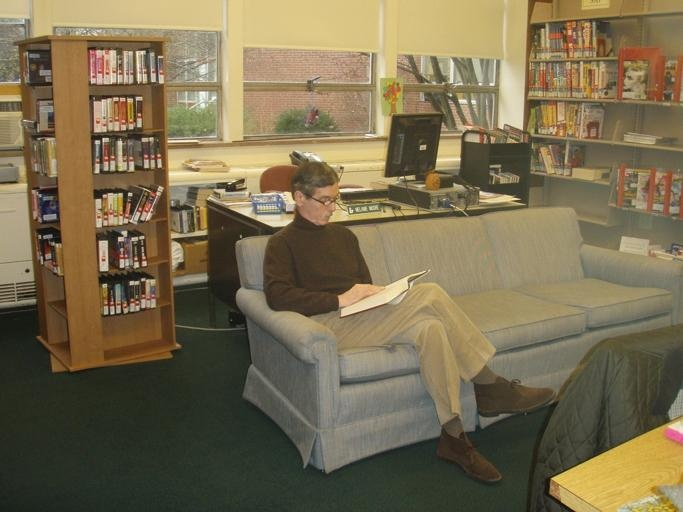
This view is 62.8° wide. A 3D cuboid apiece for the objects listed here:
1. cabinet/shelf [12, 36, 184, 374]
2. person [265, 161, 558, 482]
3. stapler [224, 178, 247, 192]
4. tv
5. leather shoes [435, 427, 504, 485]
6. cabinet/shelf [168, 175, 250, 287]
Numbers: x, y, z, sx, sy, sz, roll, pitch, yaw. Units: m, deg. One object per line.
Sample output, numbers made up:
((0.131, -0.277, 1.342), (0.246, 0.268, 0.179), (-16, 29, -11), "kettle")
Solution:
((-1.660, -0.352, 3.839), (1.086, 2.180, 0.586), (-6, 13, -12), "cabinet/shelf")
((0.335, 0.257, 3.049), (1.485, 1.542, 0.764), (3, 12, 30), "person")
((-0.828, -0.530, 4.189), (0.074, 0.099, 0.255), (5, 11, 33), "stapler")
((0.613, -0.867, 4.362), (0.567, 0.503, 0.189), (-15, 29, -37), "tv")
((0.627, 0.967, 2.883), (0.401, 0.196, 0.139), (19, 23, 34), "leather shoes")
((-1.078, -0.220, 4.502), (0.929, 0.892, 0.491), (-6, 10, -34), "cabinet/shelf")
